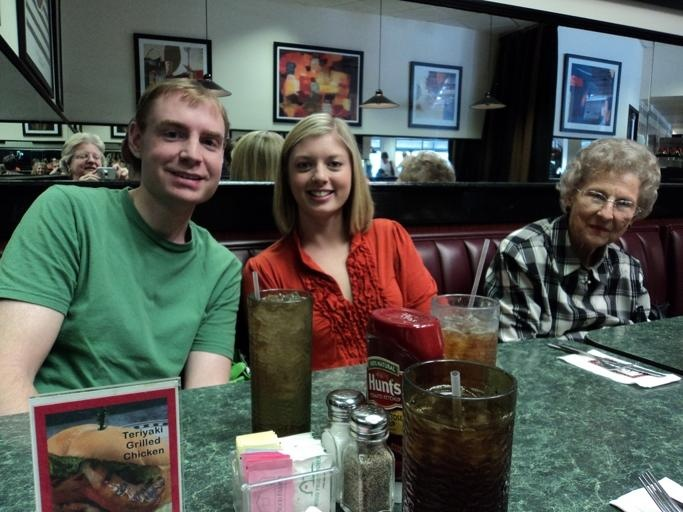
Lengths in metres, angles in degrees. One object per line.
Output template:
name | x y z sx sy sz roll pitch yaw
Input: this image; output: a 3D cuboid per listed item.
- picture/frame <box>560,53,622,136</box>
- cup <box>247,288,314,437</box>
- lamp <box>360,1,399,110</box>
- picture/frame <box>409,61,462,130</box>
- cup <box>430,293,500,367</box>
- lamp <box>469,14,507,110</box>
picture/frame | 2.332 -1.565 4.970 0.777 0.755 0.025 -2 9 -33
cup | -0.110 0.197 0.966 0.102 0.265 0.102 -2 9 0
lamp | 0.340 -1.666 4.373 0.358 0.833 0.170 -9 11 -36
picture/frame | 0.819 -1.452 4.683 0.650 0.638 0.042 0 5 -27
cup | 0.232 0.141 1.132 0.161 0.175 0.169 0 11 0
lamp | 1.340 -1.735 4.800 0.218 0.768 0.338 4 11 35
